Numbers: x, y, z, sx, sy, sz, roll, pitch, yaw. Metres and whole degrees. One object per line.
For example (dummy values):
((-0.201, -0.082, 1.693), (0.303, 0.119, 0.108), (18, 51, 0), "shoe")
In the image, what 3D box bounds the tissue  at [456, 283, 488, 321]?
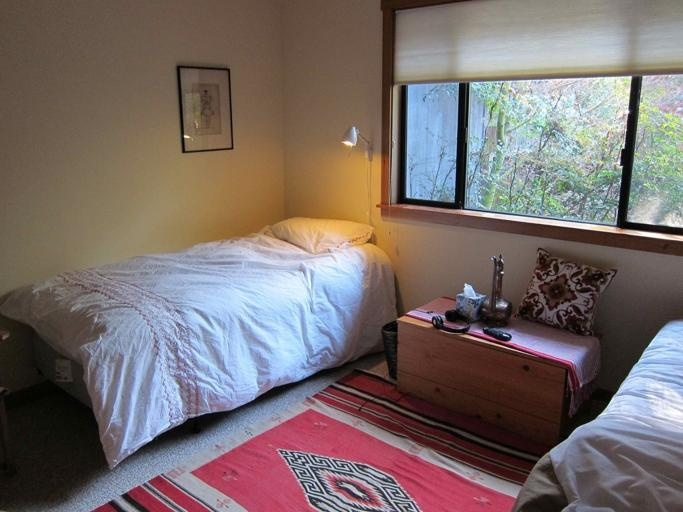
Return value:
((0.875, 0.300, 3.237), (0.185, 0.267, 0.169), (5, 14, 24), "tissue ")

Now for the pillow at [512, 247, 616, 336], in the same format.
((1.440, 0.250, 3.153), (0.456, 0.428, 0.255), (18, 21, 40), "pillow")

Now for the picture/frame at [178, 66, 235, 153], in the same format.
((-1.141, -1.229, 4.010), (0.608, 0.872, 0.029), (-15, 25, -39), "picture/frame")

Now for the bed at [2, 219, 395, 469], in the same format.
((-0.730, 0.472, 3.271), (1.811, 0.622, 1.409), (-13, 19, -41), "bed")

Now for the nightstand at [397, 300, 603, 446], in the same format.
((1.081, 0.616, 3.149), (1.220, 0.687, 0.680), (11, 16, 41), "nightstand")

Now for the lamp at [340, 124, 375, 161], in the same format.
((0.077, -0.918, 3.960), (0.312, 0.274, 0.329), (9, 15, 29), "lamp")
